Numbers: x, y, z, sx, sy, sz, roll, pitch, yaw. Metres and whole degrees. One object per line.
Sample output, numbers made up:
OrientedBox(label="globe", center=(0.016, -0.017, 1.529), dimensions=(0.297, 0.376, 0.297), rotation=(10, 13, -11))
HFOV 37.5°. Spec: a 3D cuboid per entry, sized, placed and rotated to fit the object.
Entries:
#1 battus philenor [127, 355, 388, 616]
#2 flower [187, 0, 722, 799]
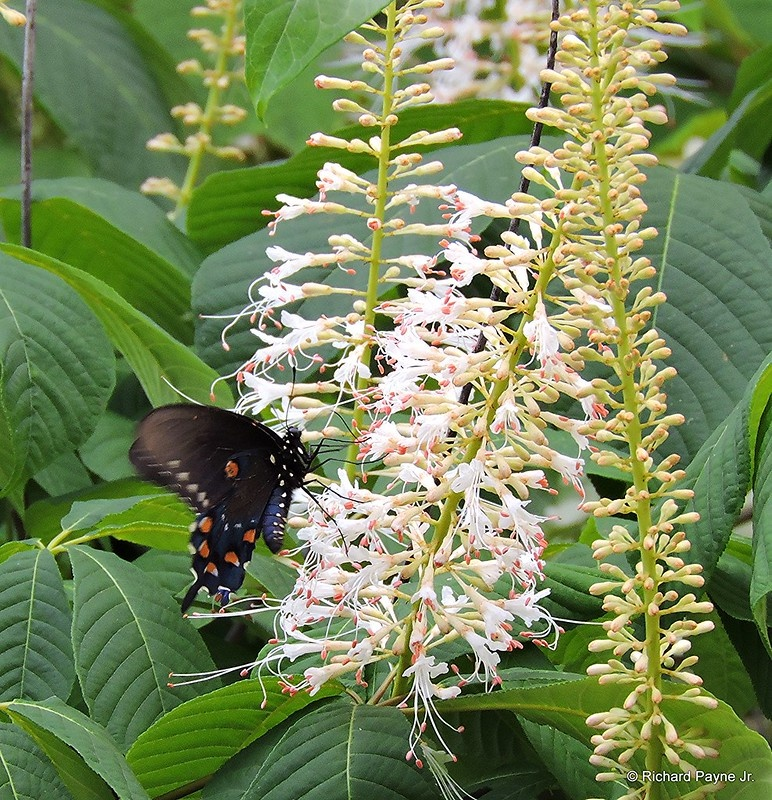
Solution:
OrientedBox(label="battus philenor", center=(-0.341, 0.206, 2.500), dimensions=(0.563, 0.461, 0.556), rotation=(-14, -13, 10))
OrientedBox(label="flower", center=(0.158, -0.083, 2.115), dimensions=(0.883, 1.429, 0.973), rotation=(7, -1, -13))
